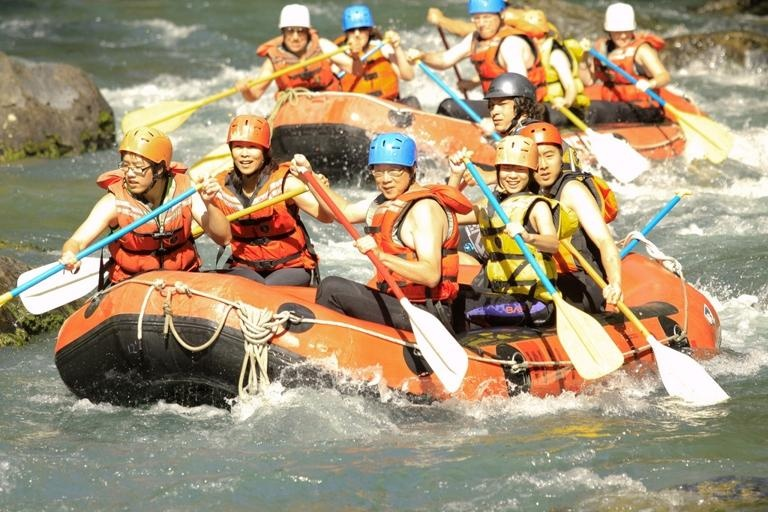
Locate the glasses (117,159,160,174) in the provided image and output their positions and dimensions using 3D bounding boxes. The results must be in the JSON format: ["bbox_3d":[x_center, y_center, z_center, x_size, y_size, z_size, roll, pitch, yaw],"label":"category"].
[{"bbox_3d":[-2.207,-0.810,9.384,0.208,0.066,0.203,7,-19,14],"label":"glasses"}]

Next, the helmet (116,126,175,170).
[{"bbox_3d":[-2.185,-1.006,9.492,0.432,0.320,0.314,-11,17,-38],"label":"helmet"}]

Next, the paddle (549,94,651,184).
[{"bbox_3d":[2.515,-1.422,12.758,0.591,0.123,2.169,-39,45,1],"label":"paddle"}]

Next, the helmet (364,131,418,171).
[{"bbox_3d":[0.072,-0.975,9.439,0.426,0.288,0.513,8,13,33],"label":"helmet"}]

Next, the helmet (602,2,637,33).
[{"bbox_3d":[3.292,-3.383,14.680,0.371,0.270,0.532,-2,8,12],"label":"helmet"}]

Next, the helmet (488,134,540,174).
[{"bbox_3d":[1.286,-0.987,9.718,0.386,0.361,0.457,12,26,11],"label":"helmet"}]

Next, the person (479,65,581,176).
[{"bbox_3d":[1.440,-1.259,10.711,0.808,1.160,0.599,-2,37,21],"label":"person"}]

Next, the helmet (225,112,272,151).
[{"bbox_3d":[-1.257,-1.171,9.752,0.428,0.369,0.475,17,13,34],"label":"helmet"}]

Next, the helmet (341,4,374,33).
[{"bbox_3d":[-0.366,-3.159,13.897,0.442,0.291,0.579,-10,11,4],"label":"helmet"}]

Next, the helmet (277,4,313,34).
[{"bbox_3d":[-1.189,-3.138,13.575,0.372,0.303,0.327,-3,14,-8],"label":"helmet"}]
